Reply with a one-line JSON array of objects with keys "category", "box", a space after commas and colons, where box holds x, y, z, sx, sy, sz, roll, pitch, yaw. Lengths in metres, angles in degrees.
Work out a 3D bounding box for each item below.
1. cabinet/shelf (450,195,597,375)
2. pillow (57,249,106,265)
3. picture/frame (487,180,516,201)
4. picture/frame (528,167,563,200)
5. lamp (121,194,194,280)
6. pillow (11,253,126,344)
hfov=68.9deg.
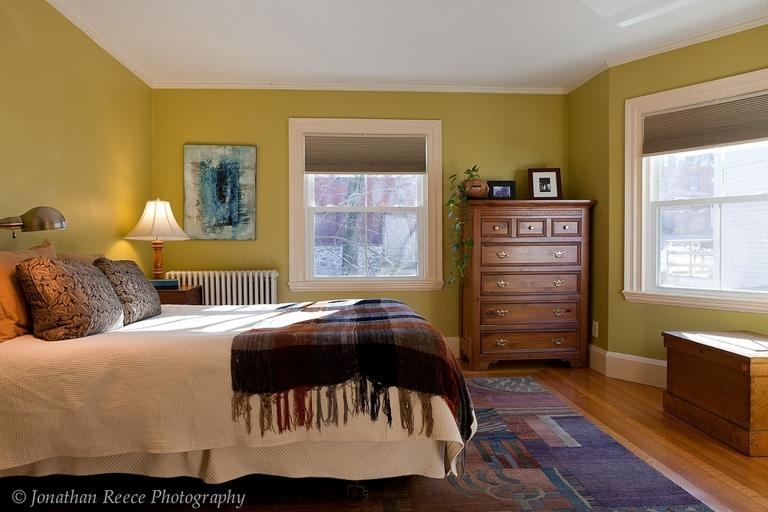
[{"category": "cabinet/shelf", "box": [1.354, 0.275, 5.888, 1.358, 1.630, 0.848, 0, 1, -13]}, {"category": "pillow", "box": [-2.274, 0.002, 4.291, 0.235, 0.066, 0.237, 3, 1, 10]}, {"category": "picture/frame", "box": [1.201, -0.675, 5.767, 0.262, 0.168, 0.019, -1, -1, -1]}, {"category": "picture/frame", "box": [1.652, -0.744, 5.784, 0.400, 0.392, 0.033, -1, -7, -3]}, {"category": "lamp", "box": [-2.107, -0.124, 5.341, 0.593, 0.752, 0.592, -3, -3, 39]}, {"category": "pillow", "box": [-2.155, 0.279, 3.988, 0.481, 0.530, 0.798, 6, 3, -5]}]
